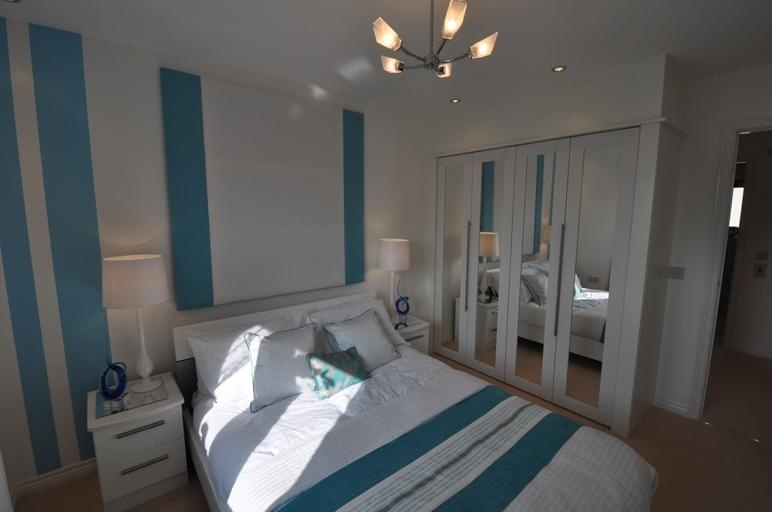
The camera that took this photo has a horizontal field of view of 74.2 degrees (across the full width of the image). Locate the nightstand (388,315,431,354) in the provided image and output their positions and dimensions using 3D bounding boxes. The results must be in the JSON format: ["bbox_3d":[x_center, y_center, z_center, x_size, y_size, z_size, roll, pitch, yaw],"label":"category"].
[{"bbox_3d":[0.242,0.837,5.732,0.407,0.383,0.382,-12,16,-42],"label":"nightstand"}]

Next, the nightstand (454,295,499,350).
[{"bbox_3d":[0.900,0.754,5.744,0.458,0.509,0.418,24,-15,-31],"label":"nightstand"}]

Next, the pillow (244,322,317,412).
[{"bbox_3d":[-0.954,0.952,4.431,0.195,0.643,0.703,-19,-14,33],"label":"pillow"}]

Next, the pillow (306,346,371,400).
[{"bbox_3d":[-0.422,1.003,4.440,0.510,0.351,0.155,-6,-24,-34],"label":"pillow"}]

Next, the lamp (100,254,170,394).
[{"bbox_3d":[-2.058,0.562,4.256,0.470,1.146,0.393,-7,7,-29],"label":"lamp"}]

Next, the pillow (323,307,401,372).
[{"bbox_3d":[-0.199,0.789,4.768,0.560,0.529,0.153,-17,-20,-40],"label":"pillow"}]
